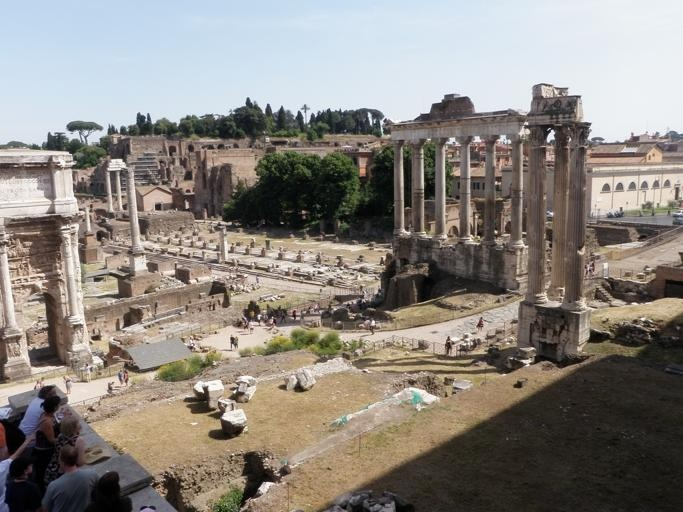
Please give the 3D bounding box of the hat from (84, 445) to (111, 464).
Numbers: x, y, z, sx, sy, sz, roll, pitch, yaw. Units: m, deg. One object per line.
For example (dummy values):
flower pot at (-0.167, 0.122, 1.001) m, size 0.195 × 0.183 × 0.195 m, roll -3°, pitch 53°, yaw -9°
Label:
hat at (-4.737, 3.864, 11.698) m, size 0.372 × 0.090 × 0.351 m, roll 8°, pitch 16°, yaw -29°
